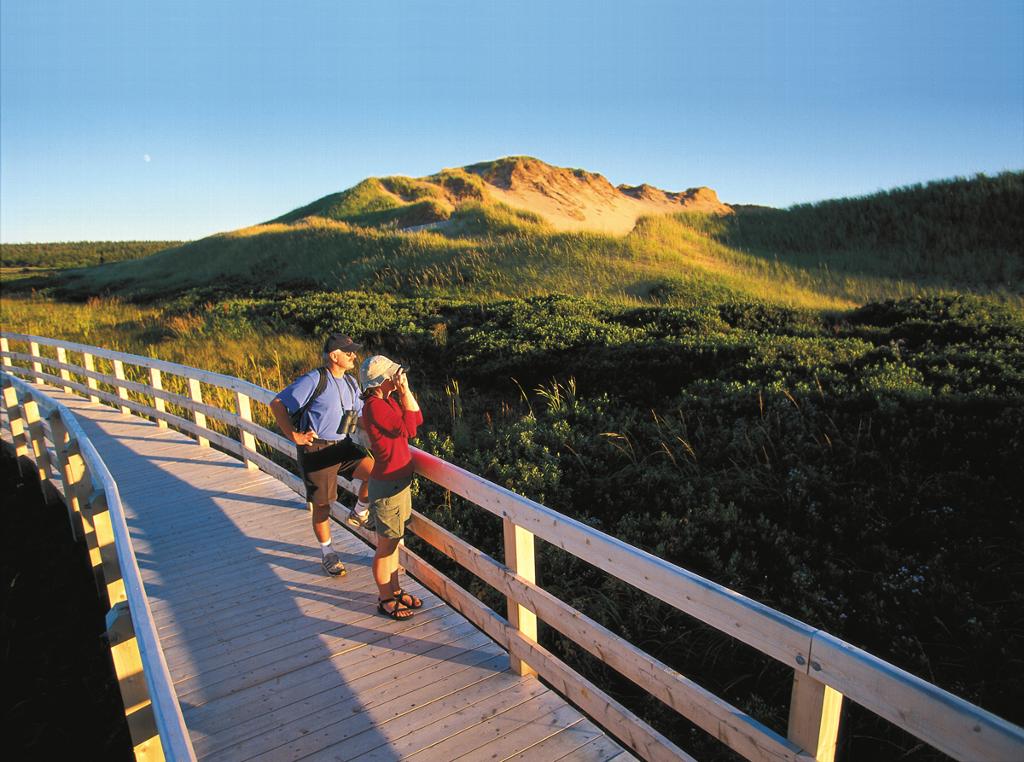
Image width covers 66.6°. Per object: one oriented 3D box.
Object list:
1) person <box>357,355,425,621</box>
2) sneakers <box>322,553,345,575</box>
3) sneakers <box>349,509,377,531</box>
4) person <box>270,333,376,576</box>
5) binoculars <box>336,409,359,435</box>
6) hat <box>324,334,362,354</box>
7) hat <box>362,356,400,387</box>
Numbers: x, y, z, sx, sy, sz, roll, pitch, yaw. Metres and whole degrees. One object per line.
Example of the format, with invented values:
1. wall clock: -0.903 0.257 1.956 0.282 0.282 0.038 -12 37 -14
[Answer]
1. person: -1.183 1.099 7.900 0.537 2.709 0.390 -3 13 -12
2. sneakers: -1.987 2.061 8.817 0.137 0.137 0.295 1 1 -37
3. sneakers: -1.777 1.590 9.104 0.431 0.221 0.196 3 5 31
4. person: -1.978 0.812 8.839 1.057 2.719 1.002 -12 17 -37
5. binoculars: -1.830 0.452 8.793 0.153 0.286 0.269 24 -9 -28
6. hat: -1.867 -0.425 8.666 0.305 0.193 0.224 -4 12 -31
7. hat: -1.289 -0.084 7.728 0.317 0.188 0.273 -30 18 -4
